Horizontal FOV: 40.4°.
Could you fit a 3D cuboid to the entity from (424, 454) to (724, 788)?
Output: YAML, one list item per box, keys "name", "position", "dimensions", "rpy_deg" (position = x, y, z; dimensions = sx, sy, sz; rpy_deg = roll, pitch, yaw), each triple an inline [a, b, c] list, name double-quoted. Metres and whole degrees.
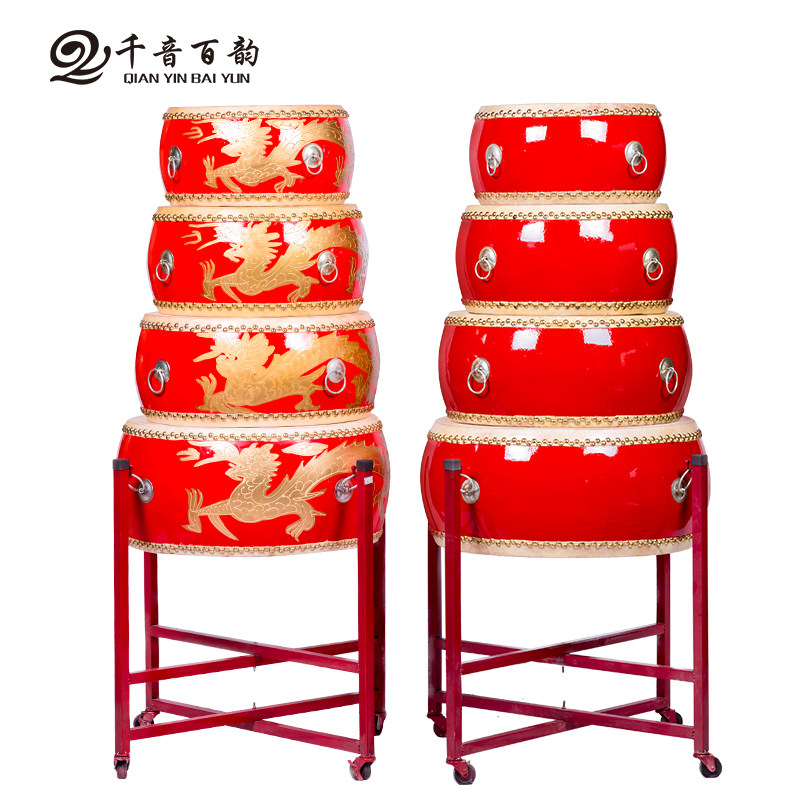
- name: "entity"
  position: [0.582, 0.756, 3.937]
  dimensions: [1.041, 0.990, 0.837]
  rpy_deg: [2, -7, -10]

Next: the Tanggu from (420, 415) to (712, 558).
- name: "Tanggu"
  position: [0.682, 0.297, 3.947]
  dimensions: [1.102, 0.411, 1.023]
  rpy_deg: [-2, 1, -1]

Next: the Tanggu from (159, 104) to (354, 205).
- name: "Tanggu"
  position: [-0.488, -0.889, 3.910]
  dimensions: [0.719, 0.330, 0.700]
  rpy_deg: [-13, 21, -37]
